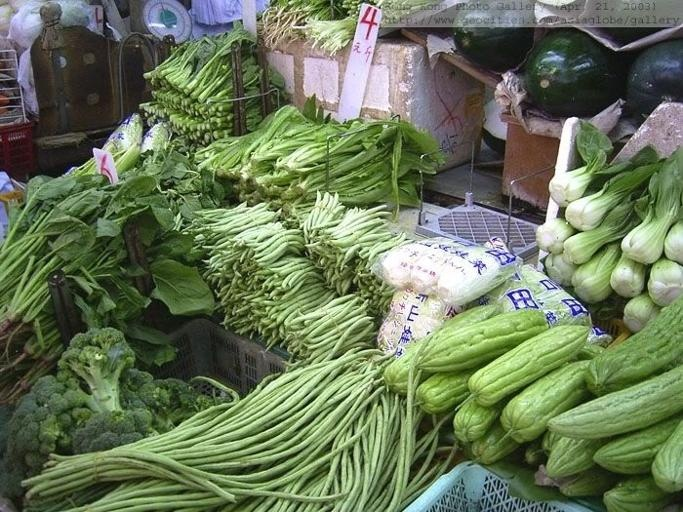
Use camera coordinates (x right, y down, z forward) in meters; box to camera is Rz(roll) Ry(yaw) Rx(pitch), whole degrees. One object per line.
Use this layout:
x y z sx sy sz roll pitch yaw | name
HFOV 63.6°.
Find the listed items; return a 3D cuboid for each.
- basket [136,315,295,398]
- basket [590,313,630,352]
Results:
-0.917 0.738 3.558 1.040 0.702 0.372 11 60 -33 | basket
1.386 0.377 2.804 0.143 0.060 0.163 -38 23 5 | basket
